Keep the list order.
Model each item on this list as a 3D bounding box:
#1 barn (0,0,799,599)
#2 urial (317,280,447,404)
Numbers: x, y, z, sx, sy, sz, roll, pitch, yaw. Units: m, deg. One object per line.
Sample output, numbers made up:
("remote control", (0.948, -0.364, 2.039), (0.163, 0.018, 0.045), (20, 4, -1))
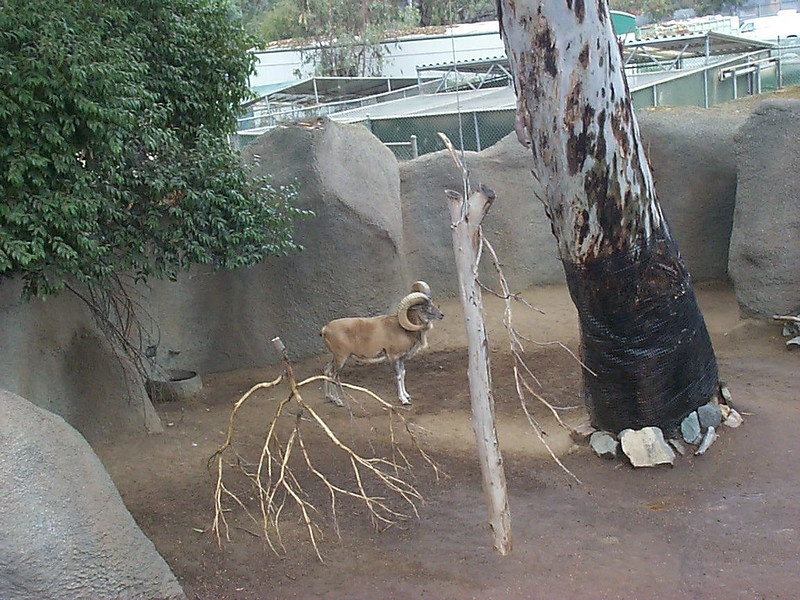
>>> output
("barn", (-0.061, 0.196, 11.821), (7.445, 2.658, 9.724), (0, 30, -2))
("urial", (-0.312, 0.646, 13.350), (1.764, 2.304, 0.957), (2, 27, 0))
